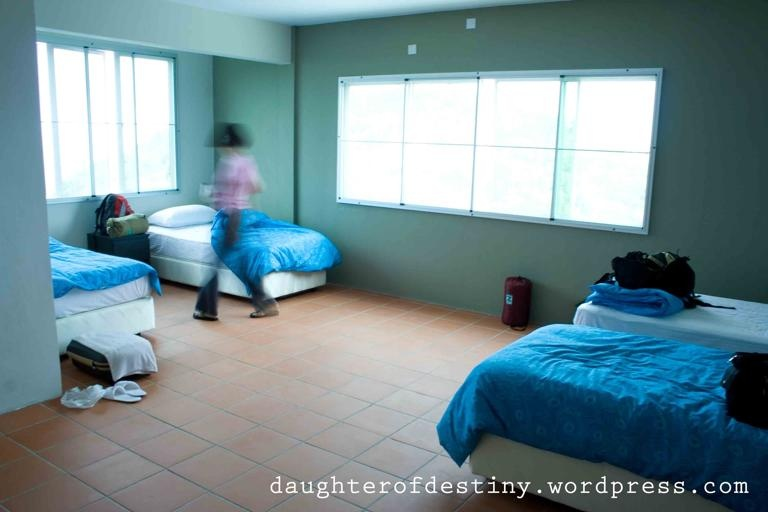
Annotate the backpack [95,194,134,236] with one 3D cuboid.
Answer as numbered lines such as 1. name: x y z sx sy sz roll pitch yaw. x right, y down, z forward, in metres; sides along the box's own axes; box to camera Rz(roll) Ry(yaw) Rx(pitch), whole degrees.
1. backpack: -3.911 -0.606 7.266 0.643 0.595 0.442 -2 8 -21

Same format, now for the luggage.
1. luggage: -2.631 0.925 4.900 0.797 0.316 0.600 9 10 36

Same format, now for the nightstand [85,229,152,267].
1. nightstand: -3.815 -0.158 7.277 0.570 0.533 0.551 5 6 37

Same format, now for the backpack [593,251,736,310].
1. backpack: 2.582 0.174 4.730 0.898 0.327 0.568 3 2 21

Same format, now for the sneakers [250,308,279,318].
1. sneakers: -1.486 0.707 6.405 0.397 0.146 0.129 0 -3 -26

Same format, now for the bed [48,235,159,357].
1. bed: -3.314 0.436 5.519 1.443 0.799 0.868 7 12 33

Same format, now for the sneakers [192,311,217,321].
1. sneakers: -2.182 0.739 6.228 0.337 0.134 0.109 3 8 14

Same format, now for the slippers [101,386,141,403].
1. slippers: -2.303 1.189 4.440 0.267 0.058 0.141 4 8 24

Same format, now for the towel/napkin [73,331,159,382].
1. towel/napkin: -2.569 0.943 4.832 0.763 0.359 0.418 7 14 29

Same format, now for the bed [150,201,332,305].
1. bed: -2.165 -0.131 7.280 2.337 0.876 1.342 9 15 27
